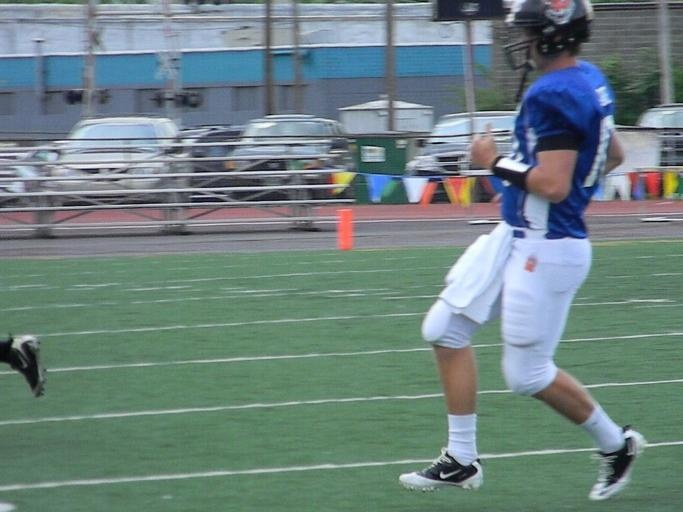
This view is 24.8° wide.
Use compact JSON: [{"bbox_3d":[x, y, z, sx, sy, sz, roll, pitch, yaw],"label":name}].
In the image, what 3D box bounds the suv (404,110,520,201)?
[{"bbox_3d":[2.355,-2.107,29.183,1.788,0.952,2.590,1,3,23],"label":"suv"}]
